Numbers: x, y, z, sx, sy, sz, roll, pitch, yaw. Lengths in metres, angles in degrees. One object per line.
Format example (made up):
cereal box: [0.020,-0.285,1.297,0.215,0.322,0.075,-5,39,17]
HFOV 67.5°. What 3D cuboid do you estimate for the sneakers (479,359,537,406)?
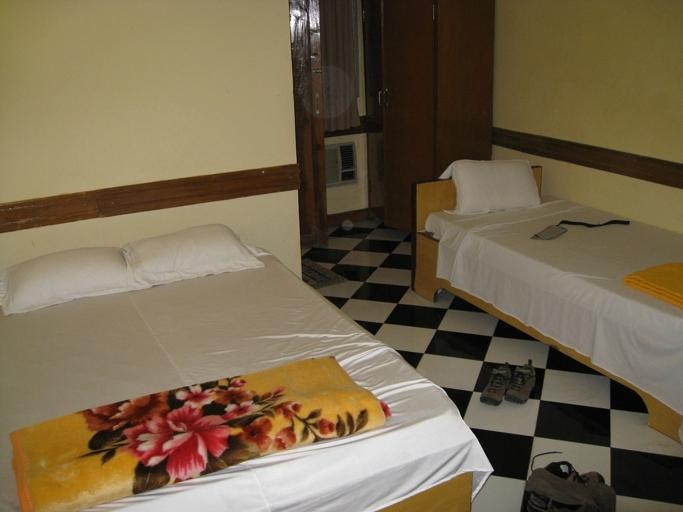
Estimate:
sneakers: [0.934,0.714,2.869,0.179,0.110,0.289,4,19,29]

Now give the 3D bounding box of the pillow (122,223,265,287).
pillow: [-0.908,0.001,3.054,0.493,0.137,0.461,-14,39,-26]

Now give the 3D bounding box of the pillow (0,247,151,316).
pillow: [-1.498,0.128,2.821,0.485,0.122,0.434,-14,51,-28]
